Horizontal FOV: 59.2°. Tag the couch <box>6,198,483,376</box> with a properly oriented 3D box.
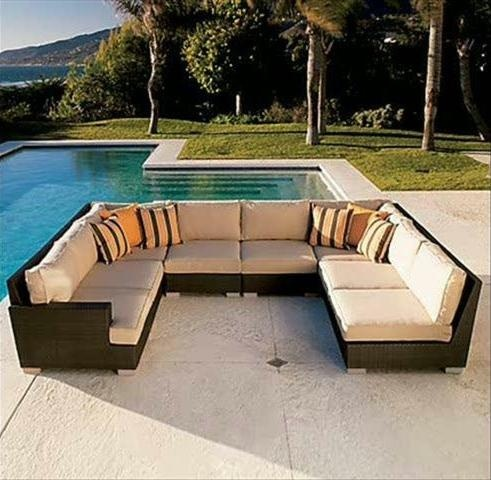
[{"bbox_3d":[-0.007,0.335,4.489,3.779,1.062,2.197,-1,25,0],"label":"couch"}]
